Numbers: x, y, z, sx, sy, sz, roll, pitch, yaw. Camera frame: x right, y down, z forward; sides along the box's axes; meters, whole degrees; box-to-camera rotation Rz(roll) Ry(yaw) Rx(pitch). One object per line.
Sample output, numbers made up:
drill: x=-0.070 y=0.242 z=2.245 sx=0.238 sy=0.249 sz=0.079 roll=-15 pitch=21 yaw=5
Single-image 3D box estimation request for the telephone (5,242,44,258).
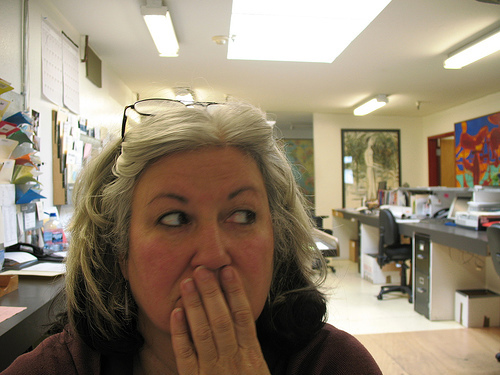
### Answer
telephone: x=-1.437 y=0.391 z=2.431 sx=0.148 sy=0.045 sz=0.109 roll=5 pitch=4 yaw=-24
